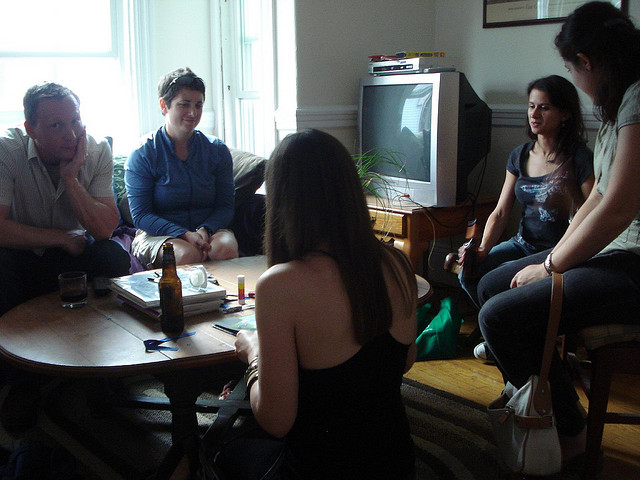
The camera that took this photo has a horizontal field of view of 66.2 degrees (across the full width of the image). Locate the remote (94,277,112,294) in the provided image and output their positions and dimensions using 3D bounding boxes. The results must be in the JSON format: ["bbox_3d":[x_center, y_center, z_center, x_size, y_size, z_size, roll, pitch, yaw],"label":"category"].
[{"bbox_3d":[-0.852,0.177,1.932,0.063,0.065,0.063,-3,5,-44],"label":"remote"}]

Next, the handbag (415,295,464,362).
[{"bbox_3d":[0.677,0.458,2.819,0.236,0.270,0.534,2,15,12],"label":"handbag"}]

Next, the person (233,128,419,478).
[{"bbox_3d":[0.008,0.167,1.164,0.436,0.837,0.292,2,14,10],"label":"person"}]

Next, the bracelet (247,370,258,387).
[{"bbox_3d":[-0.166,0.342,1.215,0.031,0.034,0.030,-4,2,-20],"label":"bracelet"}]

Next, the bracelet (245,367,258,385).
[{"bbox_3d":[-0.174,0.340,1.240,0.035,0.037,0.035,-11,7,5],"label":"bracelet"}]

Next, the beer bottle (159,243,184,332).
[{"bbox_3d":[-0.485,0.148,1.590,0.075,0.307,0.131,-5,14,-17],"label":"beer bottle"}]

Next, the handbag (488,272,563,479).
[{"bbox_3d":[0.714,0.460,1.686,0.243,0.691,0.185,5,15,21],"label":"handbag"}]

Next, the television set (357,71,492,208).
[{"bbox_3d":[0.631,-0.607,3.470,0.787,1.051,1.057,-11,17,-38],"label":"television set"}]

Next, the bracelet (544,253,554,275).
[{"bbox_3d":[0.796,0.083,1.714,0.019,0.088,0.089,3,15,15],"label":"bracelet"}]

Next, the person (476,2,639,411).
[{"bbox_3d":[0.836,-0.106,1.766,0.477,1.383,0.541,2,14,13],"label":"person"}]

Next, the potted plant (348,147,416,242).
[{"bbox_3d":[0.357,-0.241,2.573,0.290,0.424,0.432,-17,29,-32],"label":"potted plant"}]

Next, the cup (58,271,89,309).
[{"bbox_3d":[-0.918,0.187,1.836,0.090,0.113,0.094,-1,8,0],"label":"cup"}]

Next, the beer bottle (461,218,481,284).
[{"bbox_3d":[0.795,0.061,2.606,0.075,0.384,0.168,0,-14,31],"label":"beer bottle"}]
